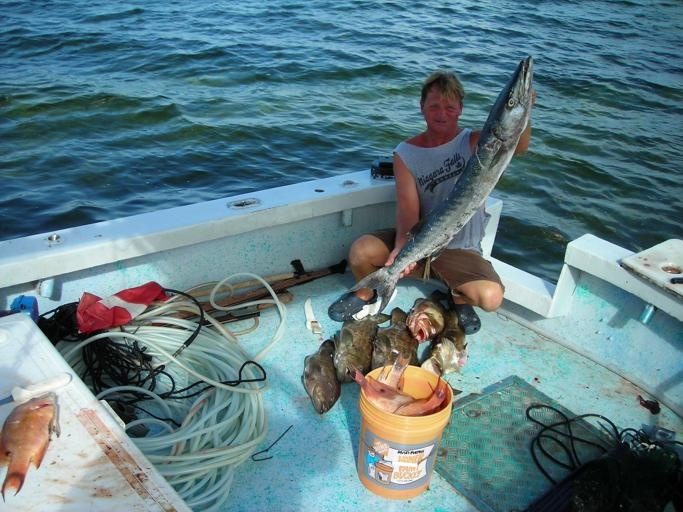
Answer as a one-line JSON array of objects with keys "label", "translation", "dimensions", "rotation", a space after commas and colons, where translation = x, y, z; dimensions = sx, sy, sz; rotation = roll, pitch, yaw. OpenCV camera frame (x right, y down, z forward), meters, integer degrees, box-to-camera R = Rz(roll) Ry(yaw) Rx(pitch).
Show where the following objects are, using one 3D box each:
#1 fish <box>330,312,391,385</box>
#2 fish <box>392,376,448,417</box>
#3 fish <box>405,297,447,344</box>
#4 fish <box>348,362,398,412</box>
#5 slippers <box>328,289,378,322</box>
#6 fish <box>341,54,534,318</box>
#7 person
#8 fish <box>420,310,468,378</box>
[{"label": "fish", "translation": [0.094, 0.537, 3.055], "dimensions": [0.219, 0.151, 0.527], "rotation": [12, 35, 11]}, {"label": "fish", "translation": [0.391, 0.680, 2.298], "dimensions": [0.275, 0.084, 0.110], "rotation": [-21, 42, -25]}, {"label": "fish", "translation": [0.564, 0.427, 3.360], "dimensions": [0.225, 0.226, 0.297], "rotation": [36, 15, 5]}, {"label": "fish", "translation": [0.160, 0.634, 2.346], "dimensions": [0.215, 0.087, 0.151], "rotation": [35, 46, 24]}, {"label": "slippers", "translation": [0.075, 0.387, 3.638], "dimensions": [0.388, 0.155, 0.163], "rotation": [-17, 62, -7]}, {"label": "fish", "translation": [0.519, -0.202, 3.356], "dimensions": [0.560, 2.332, 0.572], "rotation": [37, 36, 10]}, {"label": "person", "translation": [0.658, -0.351, 3.545], "dimensions": [1.401, 1.818, 1.225], "rotation": [13, 22, 37]}, {"label": "fish", "translation": [0.714, 0.606, 3.292], "dimensions": [0.223, 0.209, 0.531], "rotation": [15, 42, 22]}]
